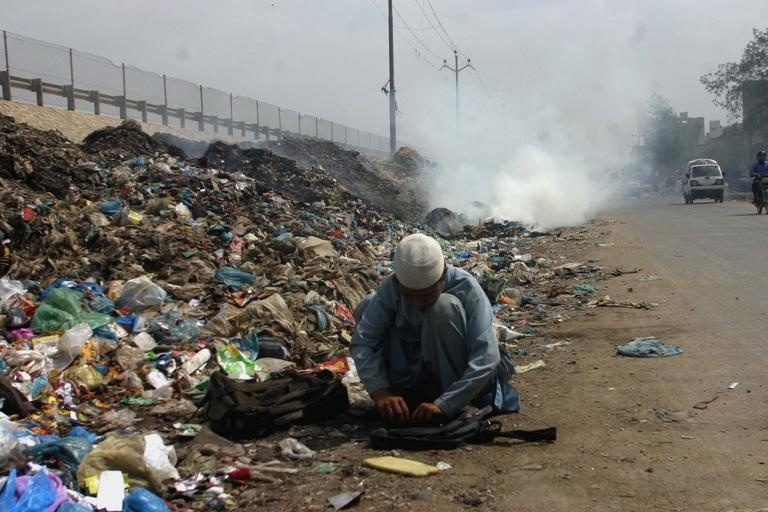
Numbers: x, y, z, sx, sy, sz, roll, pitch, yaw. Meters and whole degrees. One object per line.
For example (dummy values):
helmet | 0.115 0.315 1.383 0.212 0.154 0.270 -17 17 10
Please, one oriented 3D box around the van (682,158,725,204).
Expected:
van | 12.302 -2.853 23.009 1.623 1.329 2.584 -2 1 10

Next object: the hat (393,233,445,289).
hat | 0.267 0.061 4.530 0.414 0.369 0.329 2 -19 2
